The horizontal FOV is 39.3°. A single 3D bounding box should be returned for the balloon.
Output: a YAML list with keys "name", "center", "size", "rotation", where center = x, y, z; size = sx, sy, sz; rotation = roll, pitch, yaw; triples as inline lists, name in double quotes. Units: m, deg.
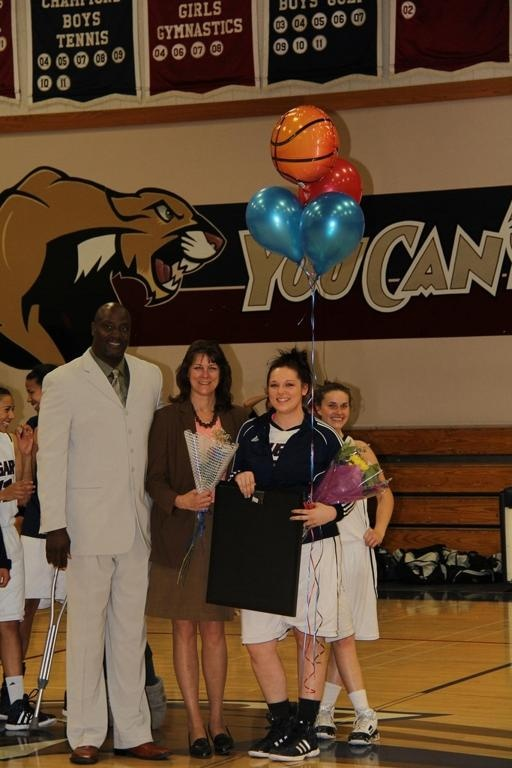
- name: "balloon"
  center: [0.176, -0.758, 2.741]
  size: [0.418, 0.748, 0.504]
  rotation: [-3, -11, 7]

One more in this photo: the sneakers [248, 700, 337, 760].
- name: "sneakers"
  center: [0.117, 1.111, 2.298]
  size: [0.110, 0.149, 0.345]
  rotation: [-4, -15, 24]

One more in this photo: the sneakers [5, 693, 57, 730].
- name: "sneakers"
  center: [-0.854, 1.284, 2.803]
  size: [0.225, 0.156, 0.087]
  rotation: [-1, -2, -14]

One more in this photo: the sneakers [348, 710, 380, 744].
- name: "sneakers"
  center: [0.360, 1.177, 2.432]
  size: [0.056, 0.077, 0.163]
  rotation: [-5, -14, 14]

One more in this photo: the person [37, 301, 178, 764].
- name: "person"
  center: [-0.502, 0.540, 2.342]
  size: [0.437, 1.332, 0.239]
  rotation: [3, -12, -25]

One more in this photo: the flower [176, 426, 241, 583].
- name: "flower"
  center: [-0.162, 0.404, 2.393]
  size: [0.184, 0.494, 0.172]
  rotation: [1, -11, -14]

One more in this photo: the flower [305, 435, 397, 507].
- name: "flower"
  center: [0.314, 0.299, 2.340]
  size: [0.130, 0.205, 0.317]
  rotation: [-11, -14, 42]
